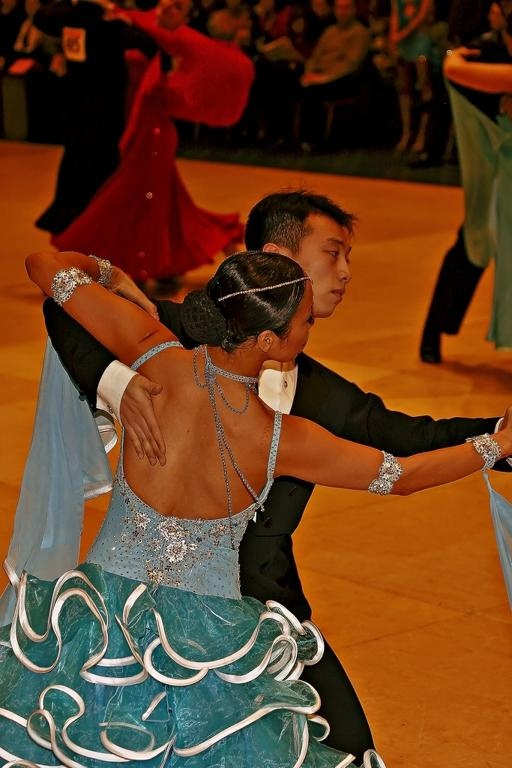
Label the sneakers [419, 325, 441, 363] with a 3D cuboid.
[{"bbox_3d":[0.814,-0.189,3.210,0.105,0.171,0.045,3,11,21],"label":"sneakers"}]

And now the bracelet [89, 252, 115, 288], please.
[{"bbox_3d":[-0.350,-0.254,1.537,0.055,0.034,0.074,29,3,29],"label":"bracelet"}]
